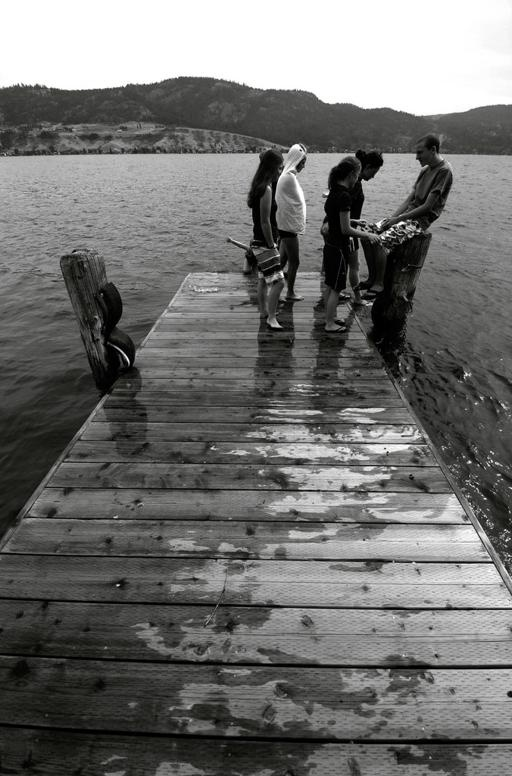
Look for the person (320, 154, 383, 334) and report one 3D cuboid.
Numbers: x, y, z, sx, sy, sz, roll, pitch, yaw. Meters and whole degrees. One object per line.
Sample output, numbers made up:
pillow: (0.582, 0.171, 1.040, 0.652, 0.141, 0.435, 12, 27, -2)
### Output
person: (0.840, -1.281, 6.204, 0.509, 1.843, 0.928, 9, 37, 9)
